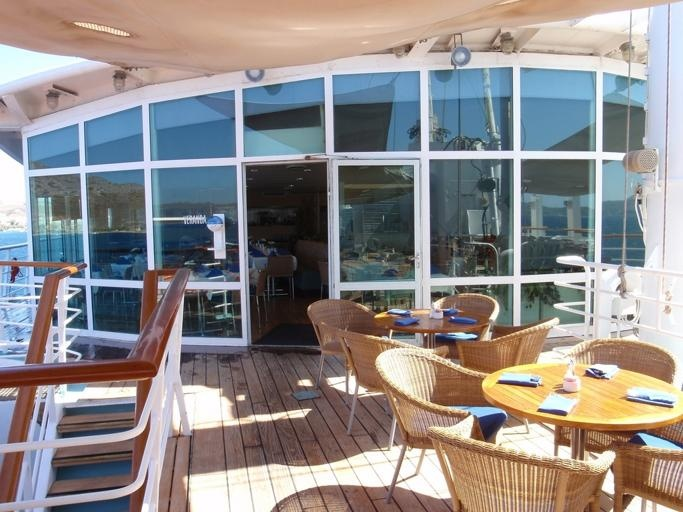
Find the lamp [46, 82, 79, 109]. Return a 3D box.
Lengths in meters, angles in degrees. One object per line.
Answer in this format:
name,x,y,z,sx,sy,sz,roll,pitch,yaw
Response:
lamp,-3.750,-2.160,7.150,0.264,0.168,0.401,1,-1,-36

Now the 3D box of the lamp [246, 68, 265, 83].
lamp,-1.067,-2.247,6.640,0.251,0.130,0.116,-3,10,-6

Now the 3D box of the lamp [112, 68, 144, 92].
lamp,-2.732,-2.266,6.794,0.339,0.135,0.309,-2,-7,14

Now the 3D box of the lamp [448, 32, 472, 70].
lamp,1.437,-2.471,6.420,0.250,0.368,0.425,0,10,12

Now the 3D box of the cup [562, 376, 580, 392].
cup,1.386,0.776,3.271,0.104,0.074,0.096,-1,10,0

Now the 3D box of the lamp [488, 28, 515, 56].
lamp,1.973,-2.588,6.455,0.289,0.220,0.386,0,10,11
